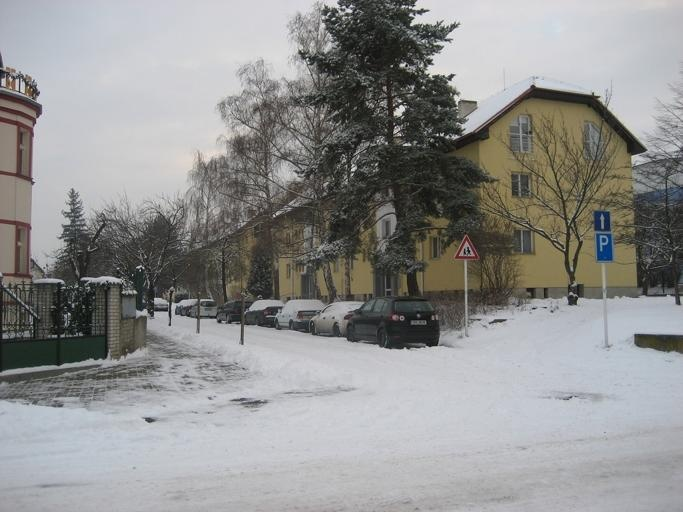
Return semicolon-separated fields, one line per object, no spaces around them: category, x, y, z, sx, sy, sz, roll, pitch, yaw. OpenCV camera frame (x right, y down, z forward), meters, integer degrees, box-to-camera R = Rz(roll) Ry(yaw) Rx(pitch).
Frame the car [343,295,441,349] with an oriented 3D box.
car;1.596;2.021;21.500;1.310;1.234;2.603;2;-2;-20

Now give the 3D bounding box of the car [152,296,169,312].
car;-18.184;4.861;69.364;1.430;1.307;3.382;0;5;-19
